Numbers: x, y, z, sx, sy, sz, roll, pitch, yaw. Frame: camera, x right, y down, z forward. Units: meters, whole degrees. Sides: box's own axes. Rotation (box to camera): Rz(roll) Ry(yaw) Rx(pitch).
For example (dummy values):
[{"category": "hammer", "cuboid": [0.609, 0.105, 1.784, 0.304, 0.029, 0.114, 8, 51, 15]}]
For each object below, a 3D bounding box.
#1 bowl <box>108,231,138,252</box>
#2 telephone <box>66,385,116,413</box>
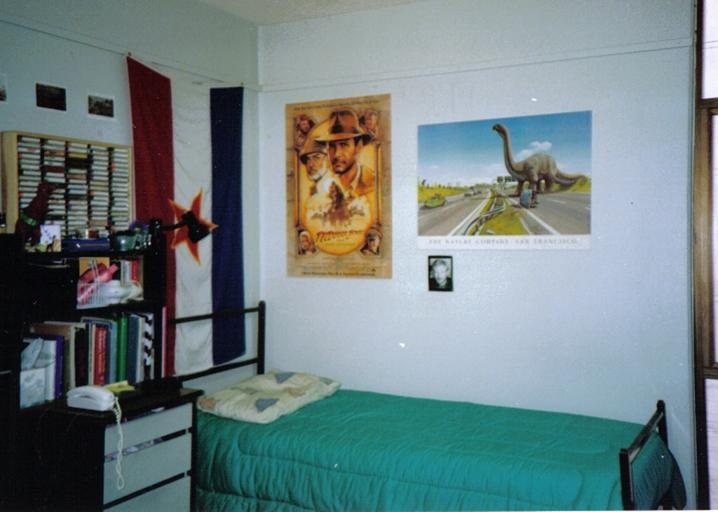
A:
[{"category": "bowl", "cuboid": [-1.441, -0.088, 3.171, 0.126, 0.094, 0.119, 0, 4, 0]}, {"category": "telephone", "cuboid": [-1.450, 0.751, 2.812, 0.222, 0.080, 0.126, 5, 2, 14]}]
